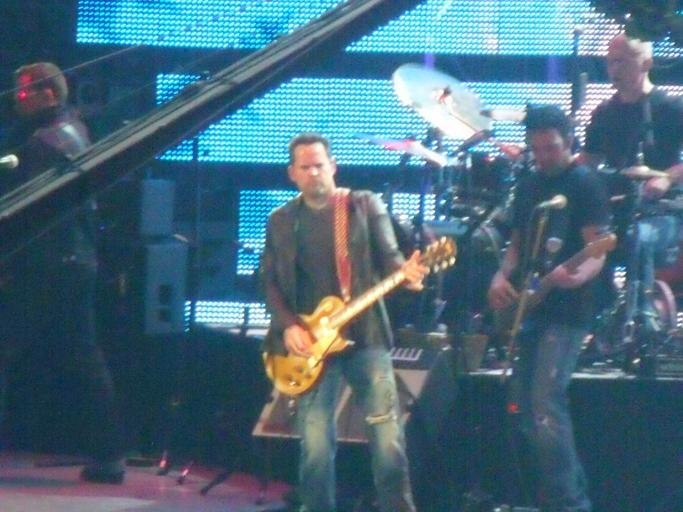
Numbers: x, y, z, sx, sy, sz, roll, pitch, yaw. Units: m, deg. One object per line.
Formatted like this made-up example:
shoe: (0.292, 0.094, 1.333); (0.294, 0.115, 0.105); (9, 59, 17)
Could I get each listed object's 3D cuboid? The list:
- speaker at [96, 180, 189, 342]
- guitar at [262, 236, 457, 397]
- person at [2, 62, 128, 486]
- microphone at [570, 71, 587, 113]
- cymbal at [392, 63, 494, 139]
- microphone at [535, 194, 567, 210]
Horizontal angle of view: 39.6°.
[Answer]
speaker: (-0.794, 0.008, 3.770); (0.360, 0.608, 0.178); (2, -10, -3)
guitar: (-0.072, 0.233, 3.493); (0.410, 0.140, 1.077); (18, -52, -35)
person: (-1.078, 0.084, 3.753); (0.522, 1.622, 0.353); (4, -10, -12)
microphone: (0.933, -0.634, 3.695); (0.077, 0.137, 0.023); (5, -1, 3)
cymbal: (0.394, -0.609, 3.727); (0.347, 0.263, 0.075); (28, -38, -15)
microphone: (0.816, -0.204, 3.675); (0.106, 0.039, 0.038); (-14, -39, 27)
